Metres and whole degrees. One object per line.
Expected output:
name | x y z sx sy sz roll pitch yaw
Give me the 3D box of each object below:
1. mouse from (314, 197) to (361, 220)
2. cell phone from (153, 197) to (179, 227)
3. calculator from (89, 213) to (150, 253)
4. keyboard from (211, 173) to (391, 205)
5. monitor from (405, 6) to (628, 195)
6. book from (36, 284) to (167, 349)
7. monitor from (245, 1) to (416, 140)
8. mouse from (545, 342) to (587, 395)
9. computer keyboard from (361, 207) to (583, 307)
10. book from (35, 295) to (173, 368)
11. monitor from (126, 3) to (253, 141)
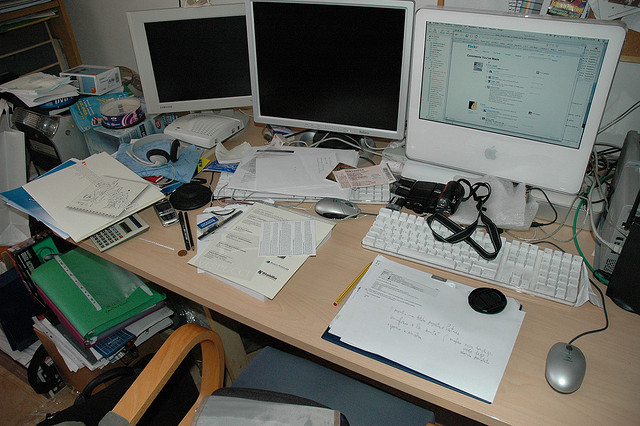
mouse | 0.065 -0.017 1.673 0.135 0.037 0.082 6 48 9
cell phone | -0.597 -0.003 1.723 0.068 0.029 0.146 -22 44 -23
calculator | -0.753 0.063 1.650 0.172 0.124 0.022 -31 55 -15
keyboard | -0.073 -0.086 1.772 0.712 0.051 0.127 5 35 6
monitor | 0.665 -0.422 1.549 0.898 0.669 0.228 21 39 29
book | -0.851 0.440 1.834 0.320 0.064 0.311 35 37 28
monitor | 0.059 -0.594 1.789 0.631 0.444 0.054 9 35 8
mouse | 0.708 0.435 1.276 0.101 0.042 0.162 16 47 25
computer keyboard | 0.531 0.149 1.444 0.868 0.114 0.247 16 60 17
book | -0.848 0.517 1.847 0.315 0.070 0.309 -25 53 -36
monitor | -0.565 -0.617 1.974 0.548 0.511 0.072 -9 37 -17
